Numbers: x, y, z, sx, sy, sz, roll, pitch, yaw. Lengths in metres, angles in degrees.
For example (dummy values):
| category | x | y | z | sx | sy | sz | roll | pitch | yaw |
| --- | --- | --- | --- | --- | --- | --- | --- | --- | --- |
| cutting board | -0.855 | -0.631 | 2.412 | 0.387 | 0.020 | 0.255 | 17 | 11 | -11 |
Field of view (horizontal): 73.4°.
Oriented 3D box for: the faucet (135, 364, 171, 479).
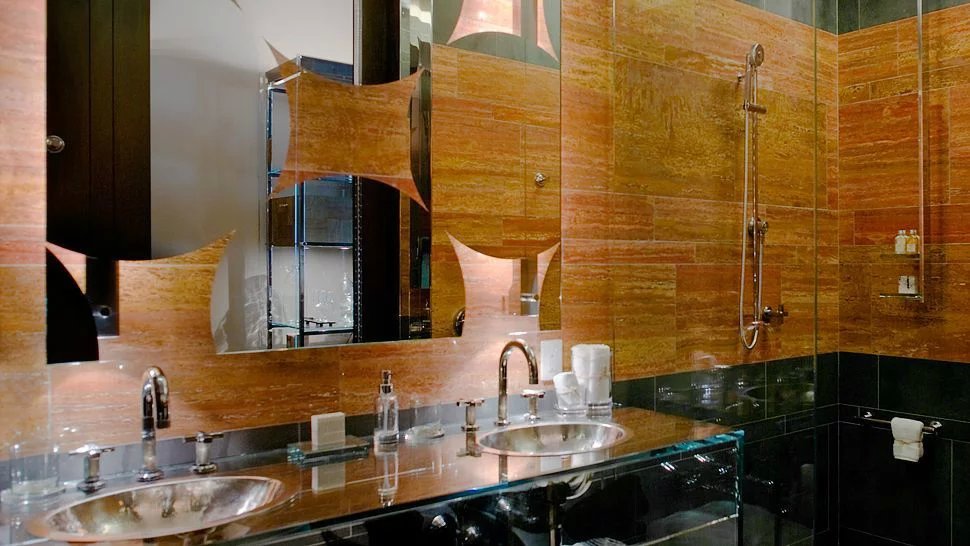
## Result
| category | x | y | z | sx | sy | sz | roll | pitch | yaw |
| --- | --- | --- | --- | --- | --- | --- | --- | --- | --- |
| faucet | -1.258 | 0.571 | 2.474 | 0.104 | 0.425 | 0.158 | 0 | -5 | -26 |

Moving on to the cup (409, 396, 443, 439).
| category | x | y | z | sx | sy | sz | roll | pitch | yaw |
| --- | --- | --- | --- | --- | --- | --- | --- | --- | --- |
| cup | -0.257 | 0.642 | 2.897 | 0.207 | 0.156 | 0.165 | 3 | -10 | -20 |

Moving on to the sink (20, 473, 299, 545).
| category | x | y | z | sx | sy | sz | roll | pitch | yaw |
| --- | --- | --- | --- | --- | --- | --- | --- | --- | --- |
| sink | -1.139 | 0.848 | 2.318 | 0.858 | 0.166 | 0.298 | 0 | -4 | -18 |

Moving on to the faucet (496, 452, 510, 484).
| category | x | y | z | sx | sy | sz | roll | pitch | yaw |
| --- | --- | --- | --- | --- | --- | --- | --- | --- | --- |
| faucet | 0.073 | 0.778 | 2.595 | 0.044 | 0.146 | 0.050 | -1 | -2 | 17 |

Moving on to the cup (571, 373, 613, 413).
| category | x | y | z | sx | sy | sz | roll | pitch | yaw |
| --- | --- | --- | --- | --- | --- | --- | --- | --- | --- |
| cup | 0.540 | 0.570 | 3.184 | 0.213 | 0.200 | 0.212 | -1 | -3 | 0 |

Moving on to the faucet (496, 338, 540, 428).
| category | x | y | z | sx | sy | sz | roll | pitch | yaw |
| --- | --- | --- | --- | --- | --- | --- | --- | --- | --- |
| faucet | 0.146 | 0.504 | 3.057 | 0.195 | 0.390 | 0.368 | -2 | -4 | 1 |

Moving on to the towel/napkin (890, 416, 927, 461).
| category | x | y | z | sx | sy | sz | roll | pitch | yaw |
| --- | --- | --- | --- | --- | --- | --- | --- | --- | --- |
| towel/napkin | 2.440 | 0.954 | 3.740 | 0.160 | 0.232 | 0.061 | -5 | -5 | 36 |
